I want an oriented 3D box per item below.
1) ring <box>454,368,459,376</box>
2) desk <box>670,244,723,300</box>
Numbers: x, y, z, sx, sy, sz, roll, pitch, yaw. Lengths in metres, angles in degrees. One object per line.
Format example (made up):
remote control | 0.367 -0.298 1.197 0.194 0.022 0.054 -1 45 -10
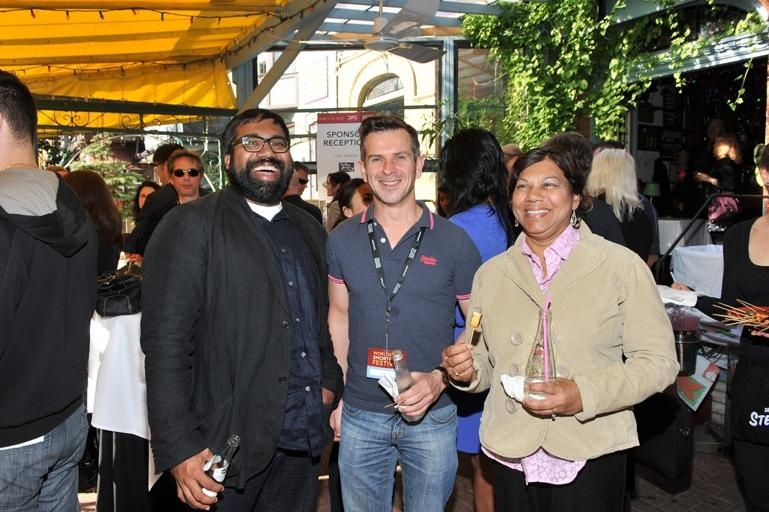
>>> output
ring | 0.376 0.615 3.181 0.029 0.028 0.009 1 3 36
desk | 3.079 0.168 5.898 0.452 0.328 0.446 -11 14 -33
